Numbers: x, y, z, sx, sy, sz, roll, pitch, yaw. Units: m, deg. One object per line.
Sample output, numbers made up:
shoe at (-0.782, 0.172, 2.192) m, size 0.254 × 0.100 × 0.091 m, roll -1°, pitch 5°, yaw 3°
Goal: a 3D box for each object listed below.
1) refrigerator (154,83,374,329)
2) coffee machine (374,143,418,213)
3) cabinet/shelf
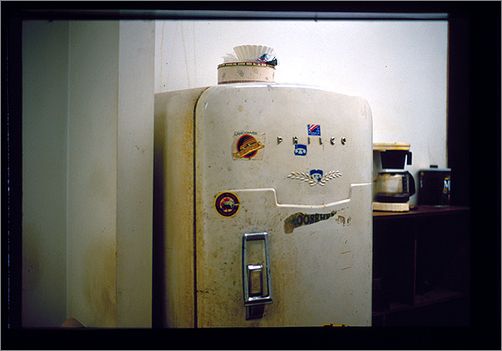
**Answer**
refrigerator at (0.206, 0.122, 3.244) m, size 0.932 × 1.561 × 0.916 m, roll -12°, pitch 25°, yaw -21°
coffee machine at (0.925, 0.005, 3.672) m, size 0.257 × 0.434 × 0.333 m, roll 0°, pitch -1°, yaw 13°
cabinet/shelf at (1.101, 0.539, 3.921) m, size 0.605 × 0.638 × 0.305 m, roll -2°, pitch 12°, yaw -1°
